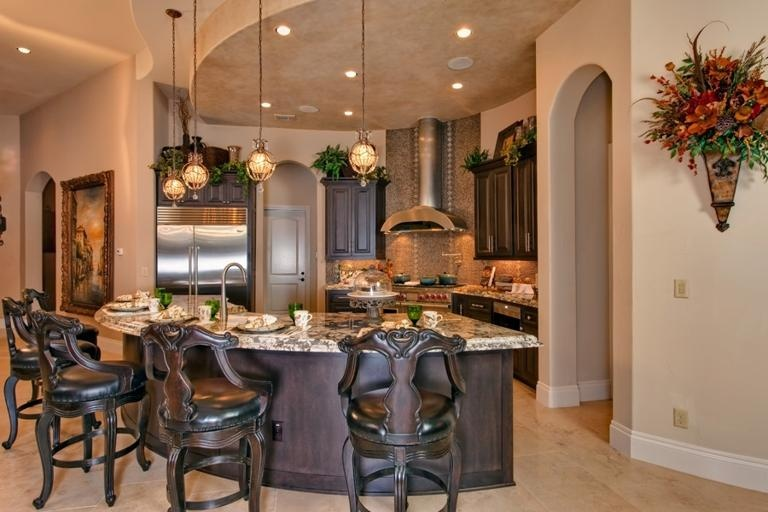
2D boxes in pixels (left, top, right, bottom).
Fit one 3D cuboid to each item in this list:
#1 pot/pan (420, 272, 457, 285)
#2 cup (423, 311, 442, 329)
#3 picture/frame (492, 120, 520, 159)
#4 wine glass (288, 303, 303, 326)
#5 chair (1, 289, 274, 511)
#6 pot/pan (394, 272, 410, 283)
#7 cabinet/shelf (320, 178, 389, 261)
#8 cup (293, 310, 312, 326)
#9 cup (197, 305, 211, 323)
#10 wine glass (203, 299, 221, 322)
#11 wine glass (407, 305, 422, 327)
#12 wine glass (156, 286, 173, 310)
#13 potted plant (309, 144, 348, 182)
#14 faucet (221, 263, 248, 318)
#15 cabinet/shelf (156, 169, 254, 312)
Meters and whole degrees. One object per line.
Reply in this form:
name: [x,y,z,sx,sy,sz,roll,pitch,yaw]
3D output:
pot/pan: [0.872,0.379,8.905,0.599,0.190,0.356,-2,-1,6]
cup: [0.458,0.607,5.304,0.181,0.122,0.123,4,-6,-31]
picture/frame: [1.738,-1.657,7.877,0.054,0.617,0.657,20,-36,-7]
wine glass: [-0.858,0.574,5.461,0.198,0.215,0.196,2,-4,-33]
chair: [-2.308,1.433,5.196,2.042,1.093,0.793,2,2,31]
pot/pan: [0.283,0.360,9.055,0.168,0.115,0.164,-1,1,8]
cabinet/shelf: [-0.515,-0.600,9.082,1.424,1.493,0.744,0,-4,2]
cup: [-0.774,0.610,5.334,0.180,0.163,0.120,6,-8,-39]
cup: [-1.745,0.582,5.406,0.163,0.160,0.132,3,1,12]
wine glass: [-1.704,0.547,5.531,0.183,0.206,0.184,4,3,5]
wine glass: [0.287,0.563,5.246,0.130,0.197,0.202,-2,-1,3]
wine glass: [-2.525,0.488,6.347,0.200,0.294,0.196,3,-6,-27]
potted plant: [-0.863,-1.584,9.228,0.504,0.407,0.572,21,35,35]
faucet: [-1.504,0.356,5.561,0.293,0.574,0.086,-4,-5,4]
cabinet/shelf: [-2.934,-0.053,9.021,1.328,2.217,0.815,0,-17,-4]
